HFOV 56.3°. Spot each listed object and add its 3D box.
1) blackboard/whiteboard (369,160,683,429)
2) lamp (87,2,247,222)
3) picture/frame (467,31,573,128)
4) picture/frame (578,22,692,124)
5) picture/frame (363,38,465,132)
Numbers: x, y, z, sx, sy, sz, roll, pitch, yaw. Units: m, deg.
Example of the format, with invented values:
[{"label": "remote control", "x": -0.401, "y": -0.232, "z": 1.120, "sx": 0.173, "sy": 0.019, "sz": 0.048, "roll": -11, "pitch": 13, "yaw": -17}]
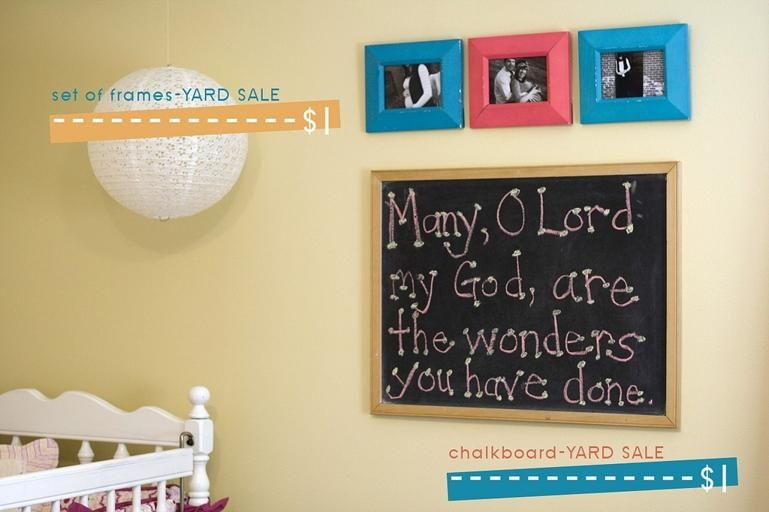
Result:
[{"label": "blackboard/whiteboard", "x": 0.596, "y": 0.160, "z": 2.754, "sx": 1.049, "sy": 0.840, "sz": 0.042, "roll": -1, "pitch": 1, "yaw": 16}, {"label": "lamp", "x": -0.830, "y": -0.756, "z": 2.872, "sx": 0.544, "sy": 1.041, "sz": 0.546, "roll": -5, "pitch": -5, "yaw": -13}, {"label": "picture/frame", "x": 0.537, "y": -0.675, "z": 2.761, "sx": 0.380, "sy": 0.329, "sz": 0.039, "roll": 0, "pitch": 3, "yaw": 13}, {"label": "picture/frame", "x": 0.958, "y": -0.683, "z": 2.702, "sx": 0.386, "sy": 0.353, "sz": 0.054, "roll": -1, "pitch": -3, "yaw": 8}, {"label": "picture/frame", "x": 0.131, "y": -0.668, "z": 2.822, "sx": 0.376, "sy": 0.320, "sz": 0.038, "roll": 0, "pitch": -2, "yaw": 10}]
